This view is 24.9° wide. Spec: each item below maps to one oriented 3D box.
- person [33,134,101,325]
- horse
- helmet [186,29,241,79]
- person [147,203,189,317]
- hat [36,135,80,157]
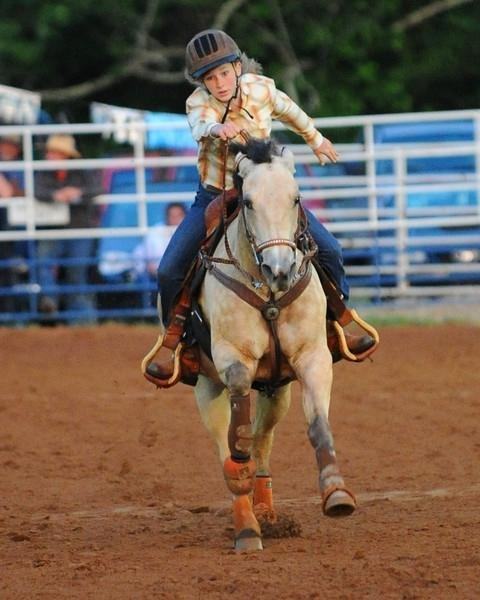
[{"bbox_3d":[-1.925,-0.768,12.122,0.756,2.157,1.259,-3,5,-8],"label":"person"},{"bbox_3d":[0.143,0.300,6.491,0.800,2.464,1.391,-3,4,-5],"label":"horse"},{"bbox_3d":[-0.190,-1.549,6.785,0.348,0.323,0.268,-2,4,4],"label":"helmet"},{"bbox_3d":[-0.914,-0.592,13.606,0.742,1.133,0.472,-7,17,-10],"label":"person"},{"bbox_3d":[-1.958,-1.695,11.891,0.366,0.276,0.329,-3,4,-18],"label":"hat"}]
